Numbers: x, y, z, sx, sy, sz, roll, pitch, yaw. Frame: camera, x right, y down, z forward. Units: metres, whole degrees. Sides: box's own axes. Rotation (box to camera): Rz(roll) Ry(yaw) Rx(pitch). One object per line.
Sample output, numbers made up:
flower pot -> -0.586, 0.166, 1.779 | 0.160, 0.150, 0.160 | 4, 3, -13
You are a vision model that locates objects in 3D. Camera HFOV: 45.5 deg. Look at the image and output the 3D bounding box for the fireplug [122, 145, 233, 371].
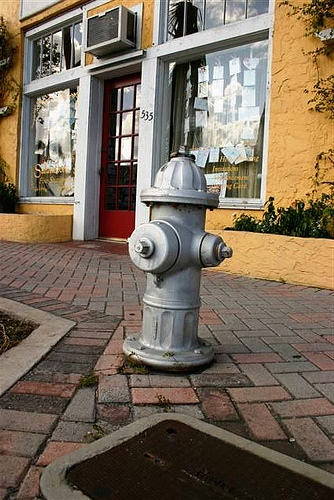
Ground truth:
fireplug -> 0.056, 0.027, 2.062 | 0.521, 1.178, 0.387 | 3, 4, -6
